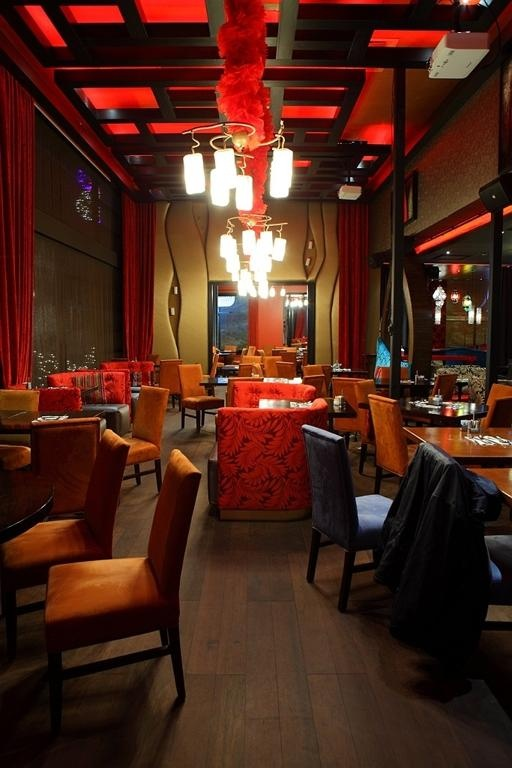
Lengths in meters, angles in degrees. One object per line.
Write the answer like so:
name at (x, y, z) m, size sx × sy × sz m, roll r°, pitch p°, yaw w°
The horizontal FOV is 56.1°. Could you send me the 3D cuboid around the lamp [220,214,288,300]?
lamp at (-0.013, -1.771, 6.634) m, size 0.802 × 1.044 × 0.813 m, roll 1°, pitch 1°, yaw 3°
